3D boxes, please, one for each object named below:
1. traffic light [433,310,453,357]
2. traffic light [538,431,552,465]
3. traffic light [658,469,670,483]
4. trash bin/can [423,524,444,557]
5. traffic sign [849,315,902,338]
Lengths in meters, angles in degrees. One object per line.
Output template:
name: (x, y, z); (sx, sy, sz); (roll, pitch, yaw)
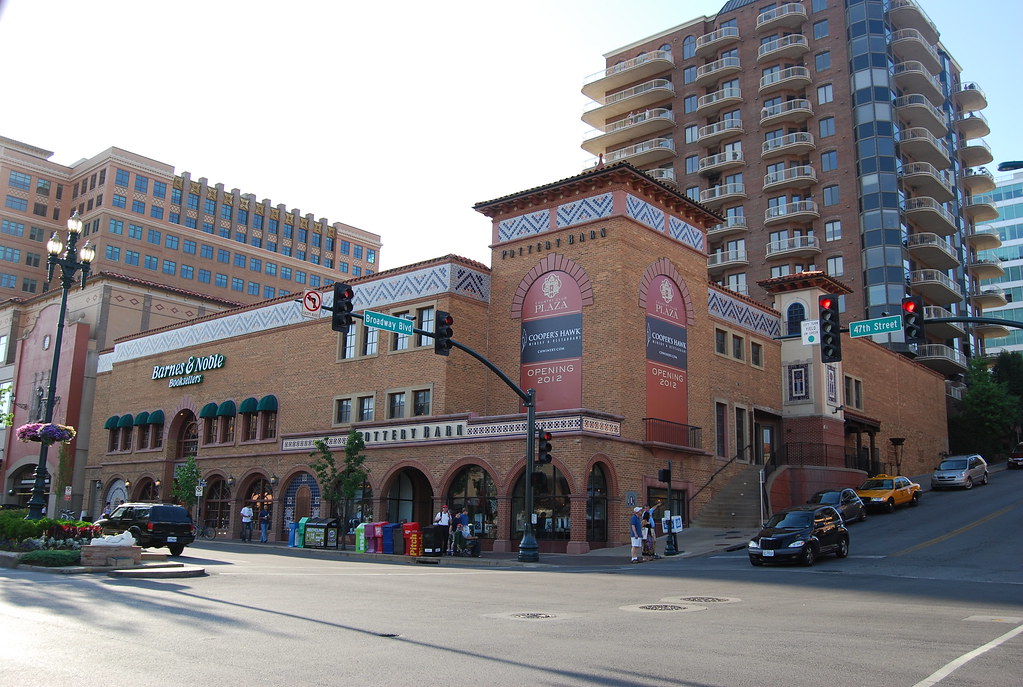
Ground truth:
traffic light: (-2.432, -0.481, 30.719); (0.660, 1.670, 0.604); (1, -20, -5)
traffic light: (1.415, 4.156, 34.586); (0.452, 1.384, 1.243); (-3, -19, 8)
traffic light: (6.984, 5.845, 38.130); (0.469, 0.569, 0.932); (-3, -19, 8)
trash bin/can: (-3.364, 8.611, 37.099); (0.799, 1.268, 0.475); (4, -20, -12)
traffic sign: (16.484, -0.741, 37.946); (0.063, 0.802, 2.635); (-2, -5, -25)
